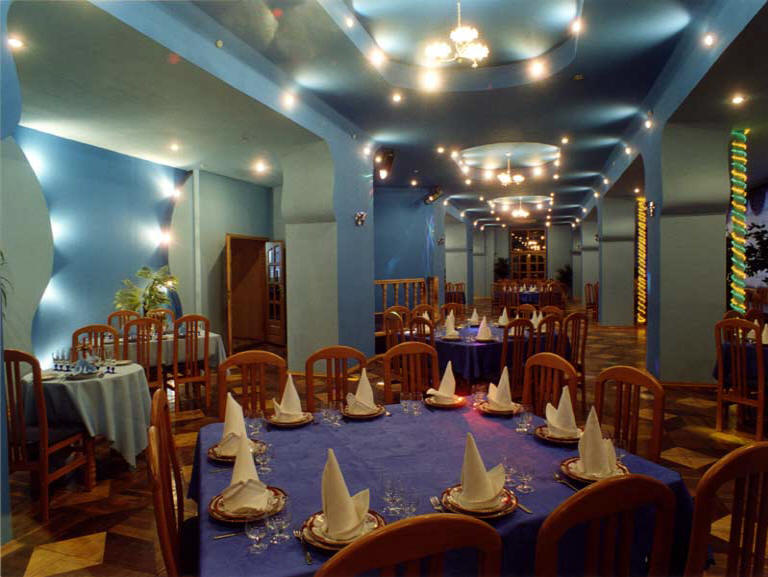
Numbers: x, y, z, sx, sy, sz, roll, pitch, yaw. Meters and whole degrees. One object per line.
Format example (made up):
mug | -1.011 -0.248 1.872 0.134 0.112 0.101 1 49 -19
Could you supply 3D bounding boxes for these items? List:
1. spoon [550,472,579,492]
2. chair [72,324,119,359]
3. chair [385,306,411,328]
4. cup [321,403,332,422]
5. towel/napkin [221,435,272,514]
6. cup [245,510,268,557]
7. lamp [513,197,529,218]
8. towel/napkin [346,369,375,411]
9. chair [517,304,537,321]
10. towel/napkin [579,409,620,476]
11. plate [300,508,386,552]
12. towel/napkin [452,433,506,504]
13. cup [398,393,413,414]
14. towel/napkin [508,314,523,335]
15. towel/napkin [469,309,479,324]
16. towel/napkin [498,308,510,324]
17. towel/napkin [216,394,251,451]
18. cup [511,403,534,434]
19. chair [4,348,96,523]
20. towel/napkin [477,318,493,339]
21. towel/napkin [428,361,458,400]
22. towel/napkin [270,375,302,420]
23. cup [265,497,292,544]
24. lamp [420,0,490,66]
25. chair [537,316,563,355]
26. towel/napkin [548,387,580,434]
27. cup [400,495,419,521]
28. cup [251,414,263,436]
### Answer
spoon | 0.982 1.052 3.106 0.043 0.035 0.213 -10 11 -9
chair | -3.190 0.593 6.304 0.292 0.570 0.299 3 -3 -32
chair | 0.203 0.323 7.612 0.291 0.424 0.279 2 9 4
cup | -0.398 0.847 3.898 0.059 0.073 0.063 0 -3 0
towel/napkin | -0.753 0.948 3.044 0.317 0.396 0.318 3 1 -1
cup | -0.621 1.172 2.787 0.105 0.191 0.114 -3 10 0
lamp | 4.076 -2.439 17.119 0.393 0.612 2.176 -1 10 14
towel/napkin | -0.155 0.710 3.947 0.199 0.273 0.174 10 4 2
chair | 1.911 0.321 7.659 0.147 0.217 0.155 -4 -11 15
towel/napkin | 1.188 0.834 3.167 0.212 0.326 0.261 1 10 22
plate | -0.192 1.166 2.878 0.461 0.071 0.470 -14 -22 42
towel/napkin | 0.495 0.917 3.022 0.256 0.391 0.332 -10 2 32
cup | 0.150 0.808 3.982 0.082 0.106 0.088 -1 4 0
towel/napkin | 1.437 0.395 6.238 0.145 0.289 0.170 2 16 5
towel/napkin | 1.429 0.441 9.105 0.165 0.204 0.173 6 7 -2
towel/napkin | 1.539 0.359 7.411 0.181 0.220 0.185 0 2 -41
towel/napkin | -0.951 0.844 3.597 0.167 0.309 0.163 12 -40 -28
cup | 0.892 0.844 3.680 0.122 0.158 0.130 0 0 0
chair | -2.821 1.060 4.785 0.590 1.306 1.031 -9 11 -30
towel/napkin | 1.145 0.447 6.399 0.205 0.261 0.214 3 -2 -16
towel/napkin | 0.445 0.665 4.182 0.224 0.307 0.217 8 -5 -7
towel/napkin | -0.713 0.745 3.906 0.228 0.321 0.226 7 -6 -28
cup | -0.508 1.172 2.860 0.105 0.192 0.116 -1 -5 0
lamp | 0.770 -2.656 6.208 0.597 0.869 0.590 0 5 3
chair | 1.779 0.422 6.083 0.234 0.463 0.955 0 10 18
towel/napkin | 1.077 0.748 3.606 0.216 0.243 0.229 11 -4 -1
cup | 0.125 1.076 2.825 0.082 0.101 0.099 -1 -6 6
cup | -0.823 0.878 3.683 0.086 0.115 0.096 2 9 5
